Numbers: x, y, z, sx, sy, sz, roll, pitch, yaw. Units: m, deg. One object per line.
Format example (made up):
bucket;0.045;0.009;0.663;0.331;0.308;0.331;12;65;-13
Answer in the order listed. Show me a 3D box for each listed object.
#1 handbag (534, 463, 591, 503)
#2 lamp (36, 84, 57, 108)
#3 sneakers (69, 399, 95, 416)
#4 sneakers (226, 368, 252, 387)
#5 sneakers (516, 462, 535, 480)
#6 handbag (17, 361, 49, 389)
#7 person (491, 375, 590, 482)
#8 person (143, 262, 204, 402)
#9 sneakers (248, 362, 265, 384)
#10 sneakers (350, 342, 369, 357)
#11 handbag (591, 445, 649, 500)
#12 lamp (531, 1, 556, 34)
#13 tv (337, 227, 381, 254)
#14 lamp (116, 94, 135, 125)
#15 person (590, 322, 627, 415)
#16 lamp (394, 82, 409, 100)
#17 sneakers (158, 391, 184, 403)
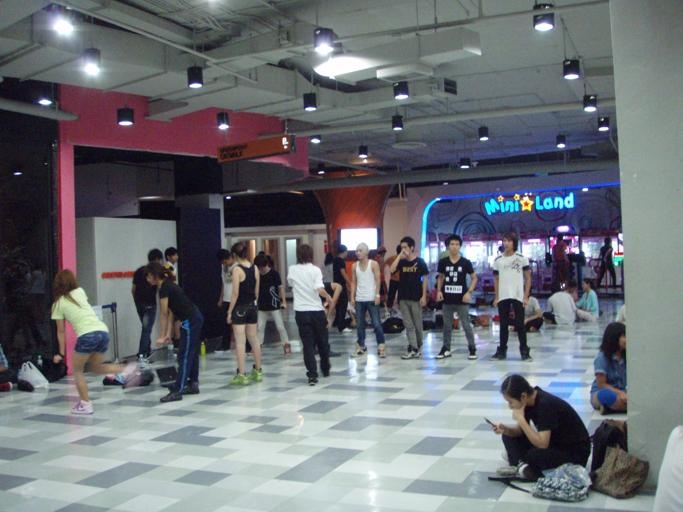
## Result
handbag;1.559;1.581;3.774;0.295;0.129;0.216;-5;4;-3
lamp;-4.300;-2.383;7.907;0.280;0.425;0.626;-3;1;-28
sneakers;-2.985;1.756;6.269;0.275;0.133;0.143;4;4;39
sneakers;-1.353;1.620;7.341;0.275;0.215;0.300;-2;1;9
sneakers;1.368;1.599;4.015;0.078;0.101;0.144;1;1;1
handbag;-4.315;1.688;7.593;0.372;0.430;0.399;-3;1;-31
person;1.519;1.333;4.104;0.727;0.762;0.556;0;-3;8
person;-2.048;0.926;6.720;0.603;1.671;0.606;-3;1;-19
sneakers;-1.149;1.634;7.502;0.118;0.214;0.303;-1;0;-28
sneakers;0.299;1.538;8.938;0.234;0.176;0.266;-2;1;-2
handbag;1.964;1.581;3.905;0.201;0.379;0.416;18;-17;-14
lamp;2.371;-2.835;6.317;0.220;0.354;0.374;-2;1;21
tv;0.634;-0.486;16.783;0.928;0.594;0.095;0;-9;9
lamp;-3.496;-2.340;8.762;0.251;0.445;0.831;-3;1;-24
person;2.630;1.105;5.323;0.311;0.896;0.442;-2;1;24
lamp;0.910;-2.575;8.349;0.281;0.282;0.249;-1;-4;3
sneakers;-2.086;1.729;6.607;0.228;0.099;0.119;3;-5;-19
